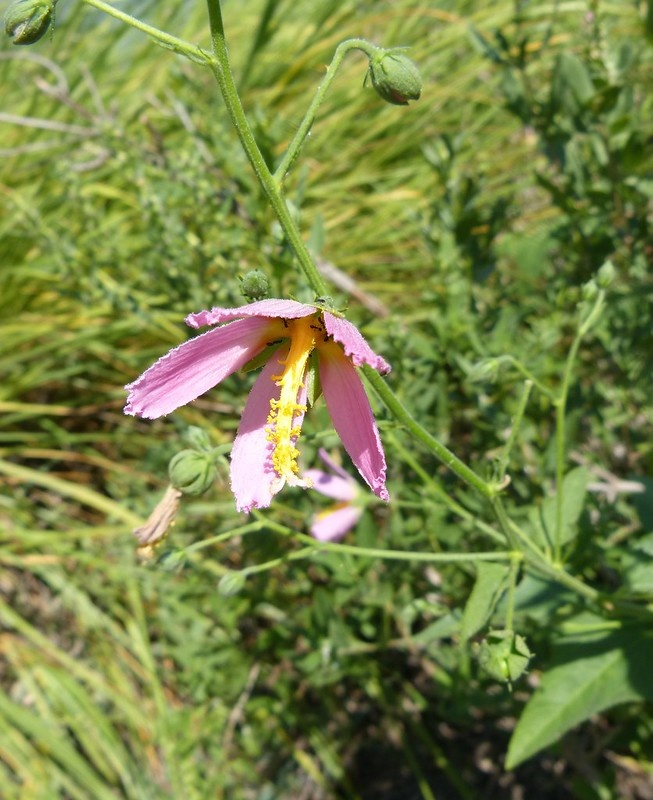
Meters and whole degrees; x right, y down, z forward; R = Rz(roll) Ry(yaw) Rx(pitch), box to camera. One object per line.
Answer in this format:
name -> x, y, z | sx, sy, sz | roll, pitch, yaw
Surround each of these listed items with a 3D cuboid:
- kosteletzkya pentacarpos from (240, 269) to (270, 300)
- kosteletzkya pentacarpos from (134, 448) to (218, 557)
kosteletzkya pentacarpos -> -0.168, -0.262, 1.827 | 0.070, 0.069, 0.023 | 2, 35, -6
kosteletzkya pentacarpos -> -0.412, 0.276, 2.215 | 0.158, 0.350, 0.135 | 48, 24, 15
